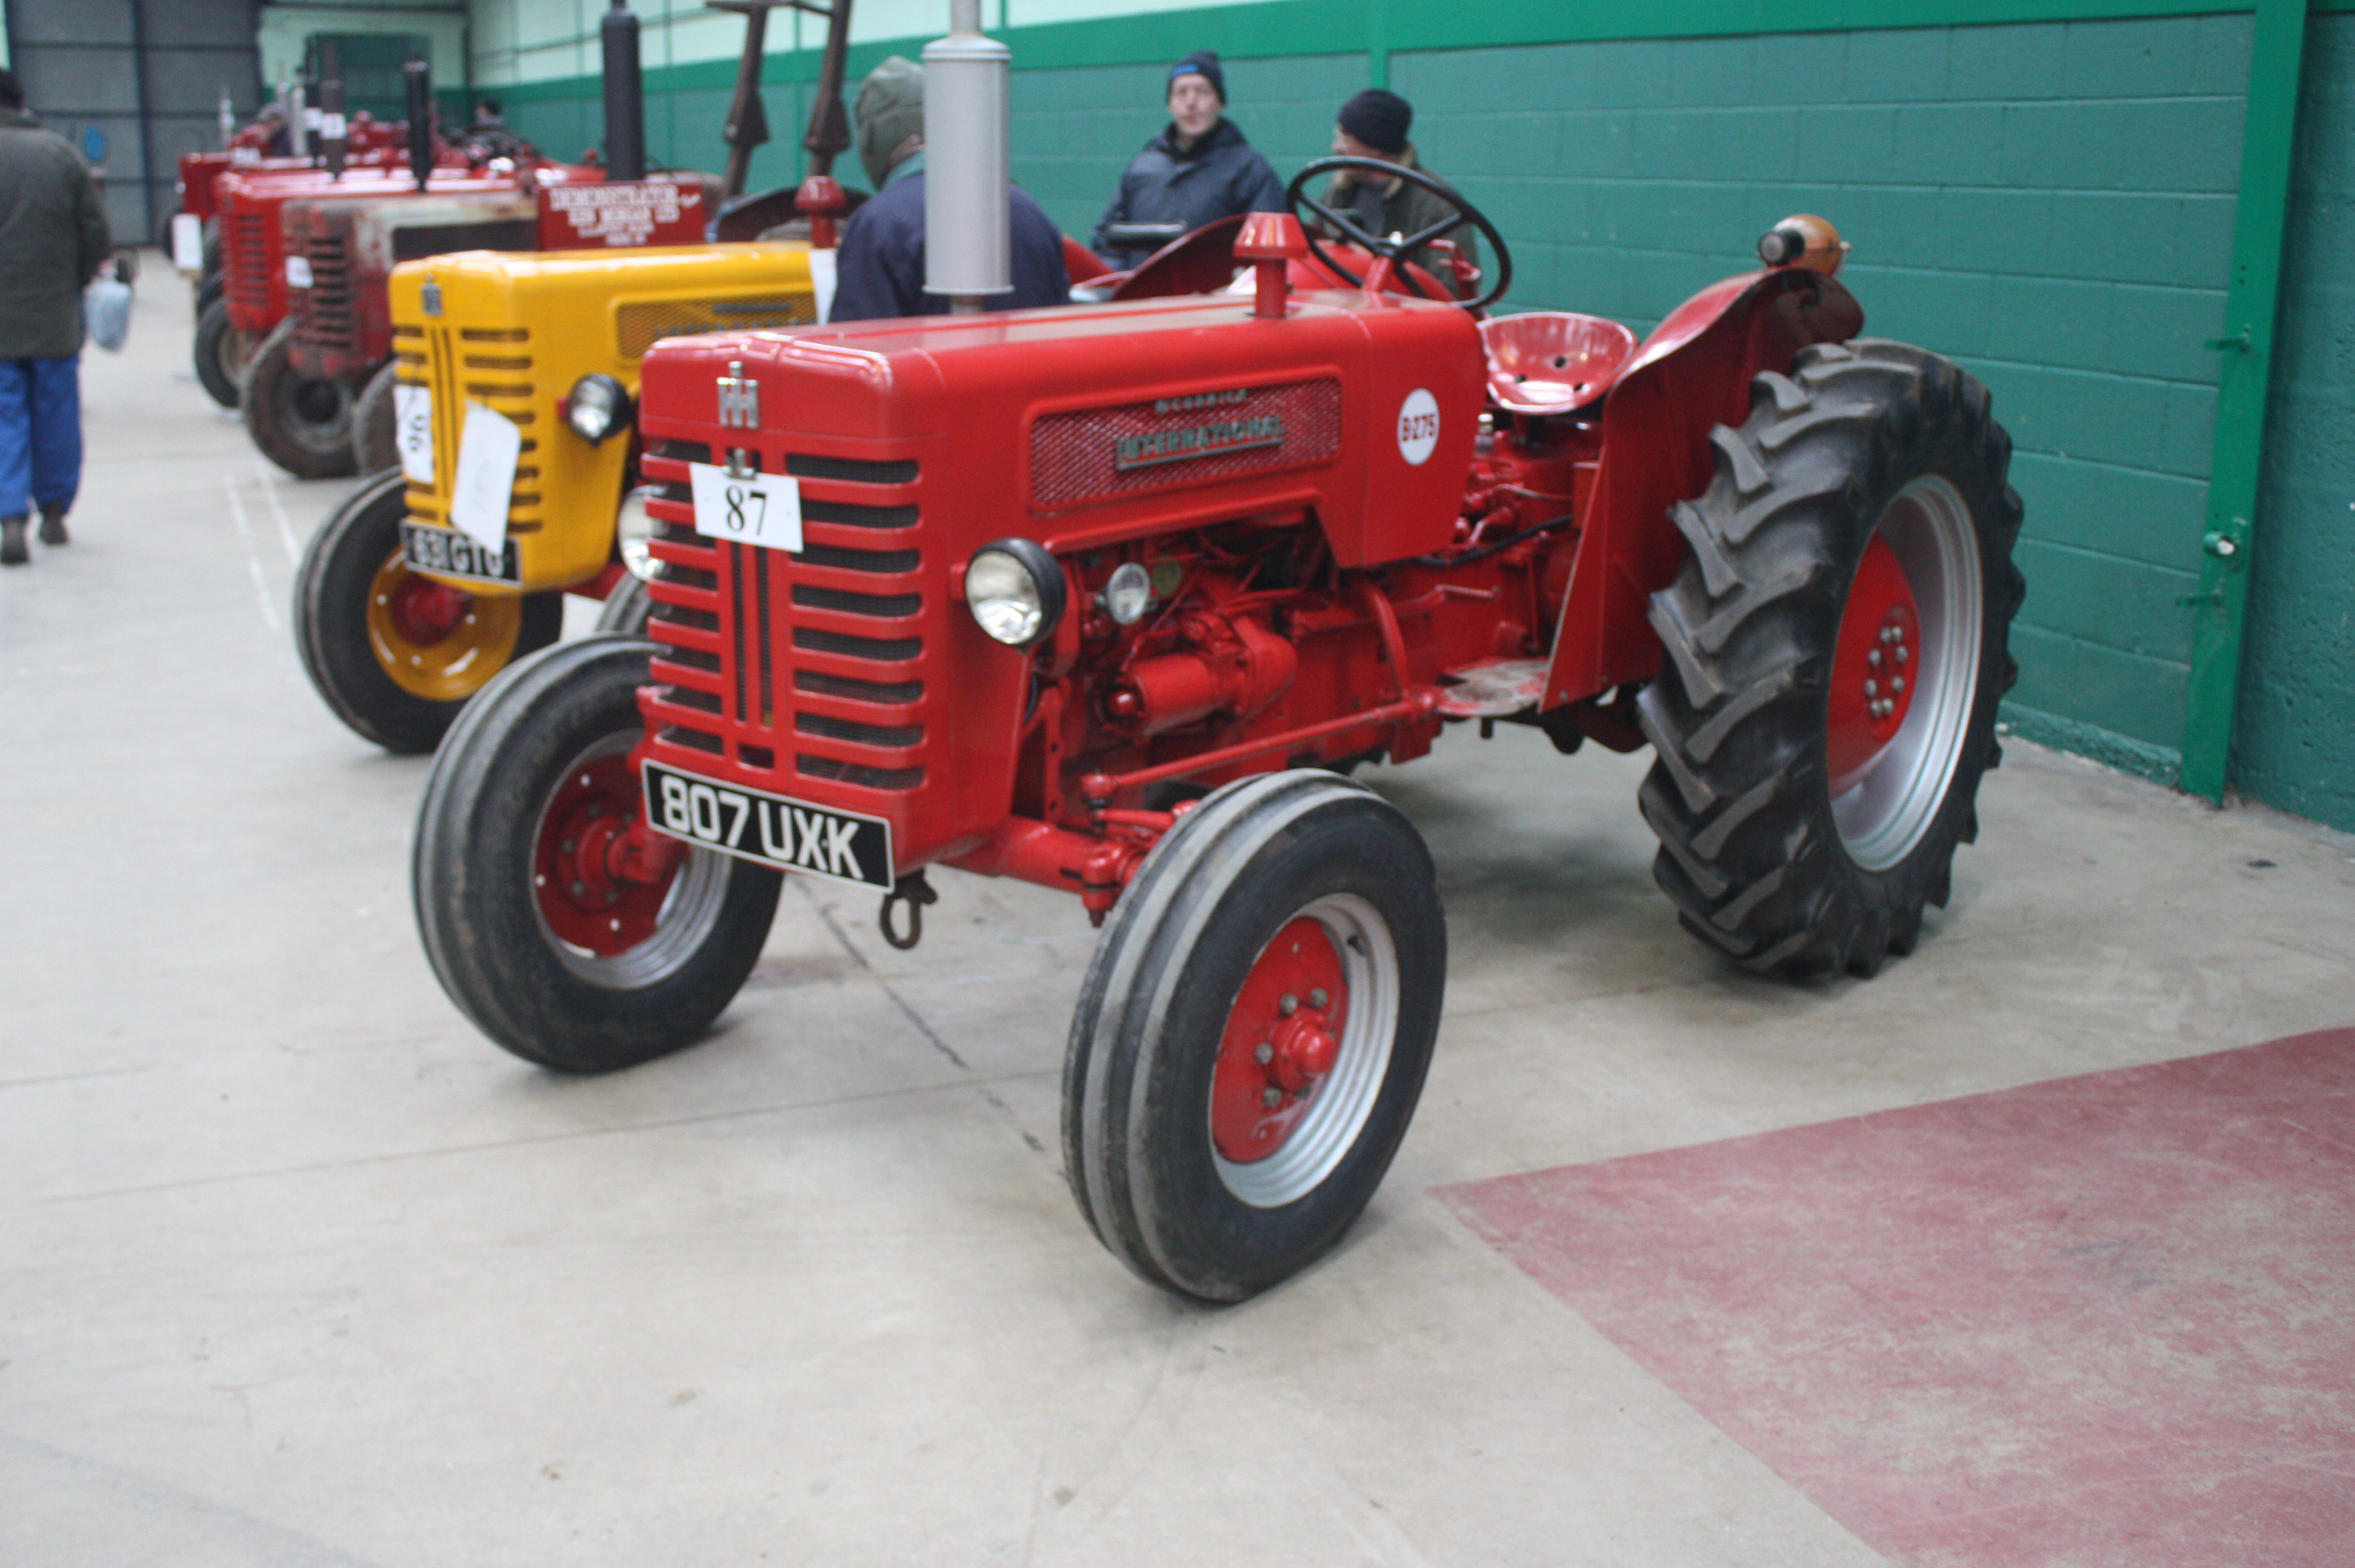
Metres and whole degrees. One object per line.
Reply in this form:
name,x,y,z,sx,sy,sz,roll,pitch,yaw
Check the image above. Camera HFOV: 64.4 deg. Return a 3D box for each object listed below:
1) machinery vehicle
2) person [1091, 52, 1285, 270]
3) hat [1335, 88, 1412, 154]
machinery vehicle,0.004,-0.420,4.669,3.223,2.402,3.204,-7,14,-35
person,-0.007,-2.398,7.326,0.877,0.909,0.472,17,31,32
hat,0.604,-2.385,6.778,0.231,0.170,0.260,-10,41,-15
